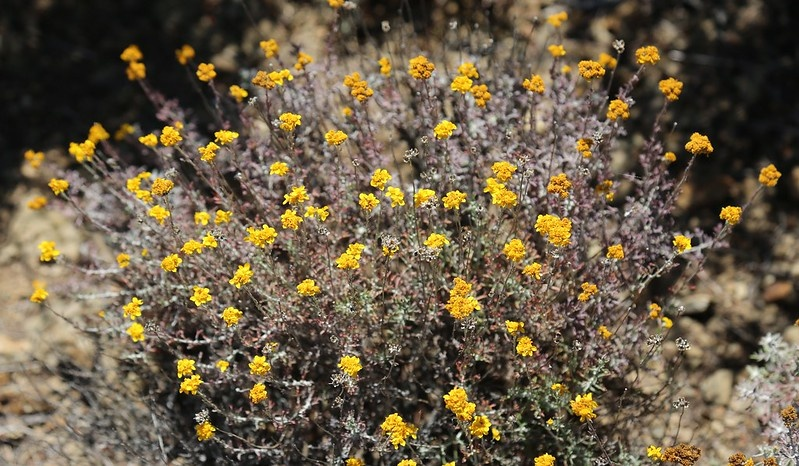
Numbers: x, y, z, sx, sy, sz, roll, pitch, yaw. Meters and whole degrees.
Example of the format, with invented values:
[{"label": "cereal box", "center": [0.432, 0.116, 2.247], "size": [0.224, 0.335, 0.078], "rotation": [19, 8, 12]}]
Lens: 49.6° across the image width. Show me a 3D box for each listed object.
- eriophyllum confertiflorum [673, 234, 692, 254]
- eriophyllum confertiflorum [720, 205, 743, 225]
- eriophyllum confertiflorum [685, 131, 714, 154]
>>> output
[{"label": "eriophyllum confertiflorum", "center": [2.766, 0.114, 8.423], "size": [0.188, 0.171, 0.123], "rotation": [-4, -22, 2]}, {"label": "eriophyllum confertiflorum", "center": [3.224, -0.164, 8.387], "size": [0.232, 0.210, 0.116], "rotation": [3, -2, 15]}, {"label": "eriophyllum confertiflorum", "center": [2.919, -0.893, 8.400], "size": [0.297, 0.137, 0.279], "rotation": [7, 21, 4]}]
